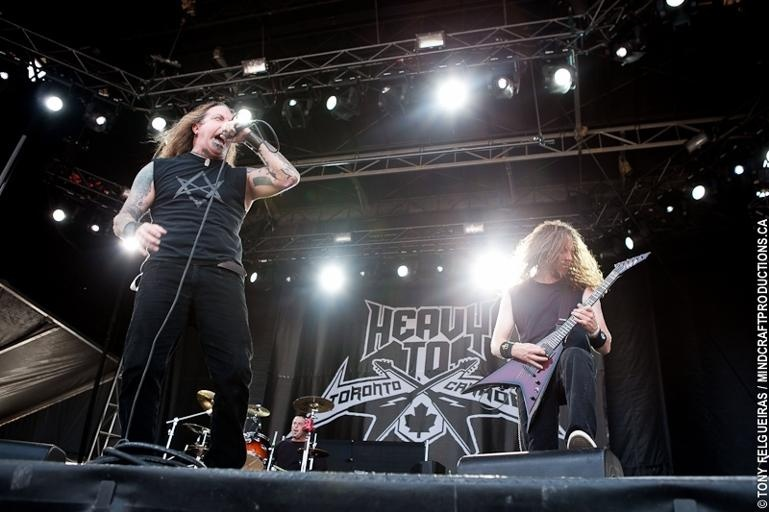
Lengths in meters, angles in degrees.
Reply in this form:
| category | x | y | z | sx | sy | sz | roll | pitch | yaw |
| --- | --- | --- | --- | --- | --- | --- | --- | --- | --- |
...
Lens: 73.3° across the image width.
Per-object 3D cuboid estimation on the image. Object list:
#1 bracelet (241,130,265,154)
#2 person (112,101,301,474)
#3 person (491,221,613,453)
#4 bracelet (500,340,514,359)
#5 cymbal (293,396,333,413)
| category | x | y | z | sx | sy | sz | roll | pitch | yaw |
| --- | --- | --- | --- | --- | --- | --- | --- | --- | --- |
| bracelet | -0.851 | -0.735 | 3.290 | 0.081 | 0.087 | 0.180 | 42 | -8 | -33 |
| person | -1.045 | 0.106 | 2.953 | 0.930 | 2.311 | 0.792 | 1 | -17 | -8 |
| person | 1.282 | 0.463 | 3.937 | 0.367 | 2.149 | 0.715 | -35 | -81 | 32 |
| bracelet | 0.883 | 0.682 | 3.738 | 0.102 | 0.109 | 0.108 | 13 | -57 | 0 |
| cymbal | -1.152 | 2.443 | 8.478 | 0.494 | 0.114 | 0.488 | 12 | -44 | -13 |
